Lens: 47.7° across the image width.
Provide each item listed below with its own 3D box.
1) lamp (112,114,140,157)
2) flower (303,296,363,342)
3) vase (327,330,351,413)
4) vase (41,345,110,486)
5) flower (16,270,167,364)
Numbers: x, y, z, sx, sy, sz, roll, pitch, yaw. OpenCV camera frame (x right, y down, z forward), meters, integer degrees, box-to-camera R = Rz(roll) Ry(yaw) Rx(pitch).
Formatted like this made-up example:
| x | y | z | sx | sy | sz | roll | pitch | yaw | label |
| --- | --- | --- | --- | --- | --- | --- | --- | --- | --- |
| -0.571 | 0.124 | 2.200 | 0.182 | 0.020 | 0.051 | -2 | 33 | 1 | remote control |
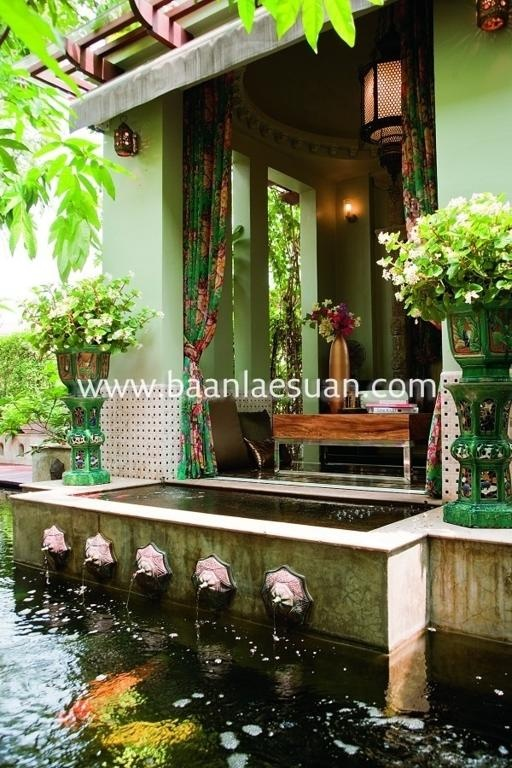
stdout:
| x | y | z | sx | sy | sz | roll | pitch | yaw | label |
| --- | --- | --- | --- | --- | --- | --- | --- | --- | --- |
| -1.018 | -1.874 | 4.405 | 0.171 | 0.288 | 0.239 | 3 | -7 | -40 | lamp |
| 0.613 | -0.541 | 4.776 | 0.267 | 0.416 | 0.543 | -1 | -5 | -7 | flower |
| 0.635 | -0.090 | 4.476 | 0.148 | 0.619 | 0.299 | -2 | -5 | 7 | vase |
| -1.153 | 0.211 | 3.909 | 0.385 | 0.894 | 0.377 | -5 | 1 | -29 | vase |
| -1.132 | -0.452 | 3.959 | 0.701 | 0.450 | 0.687 | -1 | 2 | -6 | flower |
